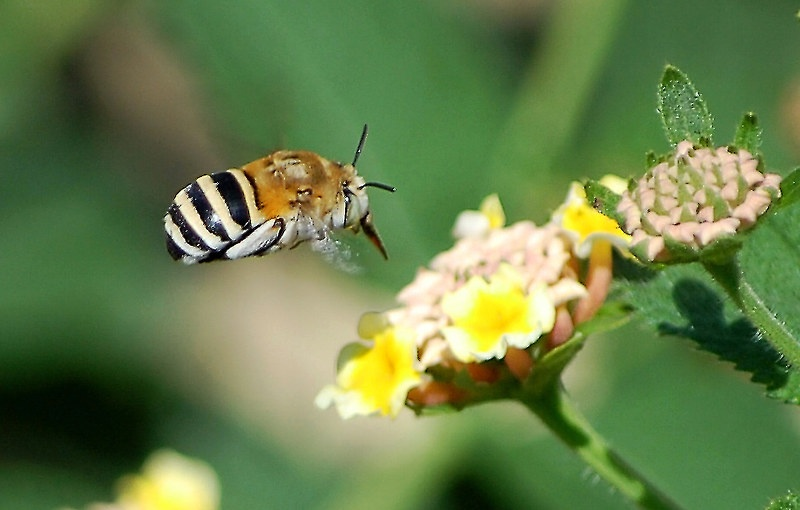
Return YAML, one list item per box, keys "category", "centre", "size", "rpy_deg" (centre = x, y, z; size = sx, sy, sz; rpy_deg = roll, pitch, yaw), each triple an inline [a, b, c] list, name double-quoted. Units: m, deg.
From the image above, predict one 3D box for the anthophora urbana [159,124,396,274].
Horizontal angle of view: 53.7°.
- category: "anthophora urbana"
  centre: [-0.248, -0.123, 1.558]
  size: [0.359, 0.168, 0.232]
  rpy_deg: [-6, 17, -13]

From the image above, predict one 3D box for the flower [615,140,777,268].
- category: "flower"
  centre: [0.438, -0.084, 1.174]
  size: [0.186, 0.103, 0.192]
  rpy_deg: [5, 50, 43]
